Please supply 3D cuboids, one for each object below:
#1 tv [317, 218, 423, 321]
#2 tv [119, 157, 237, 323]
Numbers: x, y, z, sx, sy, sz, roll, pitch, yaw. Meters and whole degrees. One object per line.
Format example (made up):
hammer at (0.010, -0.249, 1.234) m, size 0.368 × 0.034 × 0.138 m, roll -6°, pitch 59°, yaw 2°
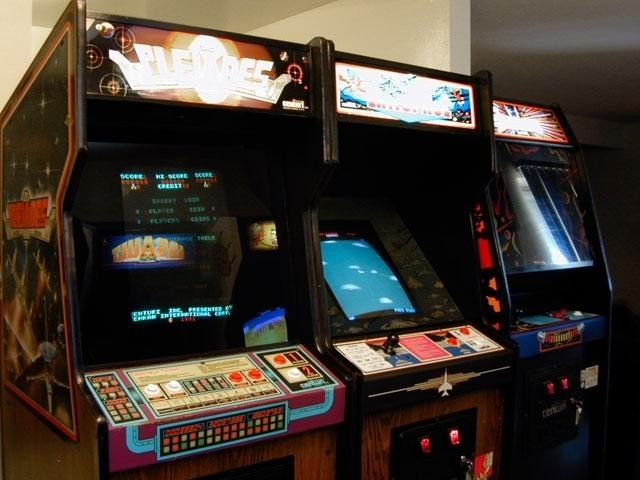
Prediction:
tv at (0.208, 0.153, 2.385) m, size 0.415 × 0.385 × 0.202 m, roll -3°, pitch 1°, yaw -26°
tv at (-0.604, 0.008, 2.089) m, size 0.471 × 0.585 × 0.339 m, roll -1°, pitch 11°, yaw -9°
